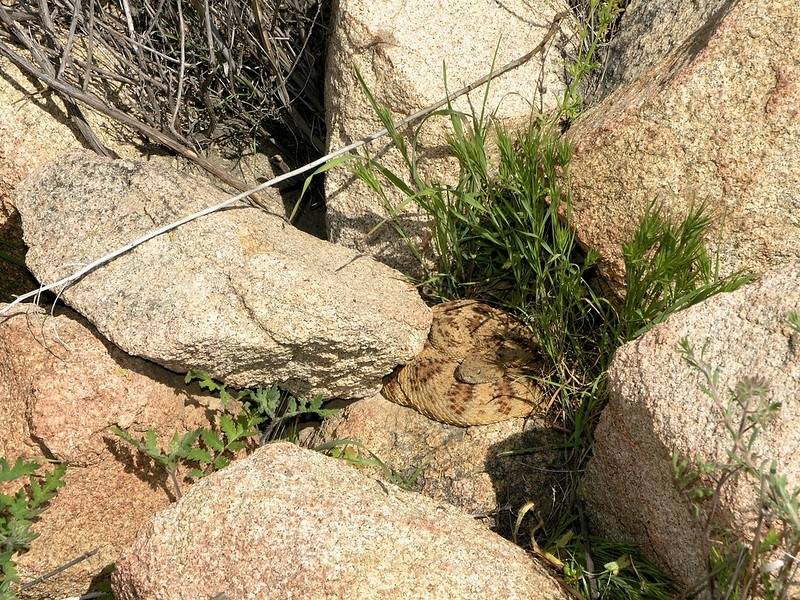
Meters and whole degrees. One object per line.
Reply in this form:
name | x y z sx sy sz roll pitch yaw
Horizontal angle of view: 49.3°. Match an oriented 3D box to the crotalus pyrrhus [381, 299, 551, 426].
crotalus pyrrhus | 0.466 0.417 5.923 1.084 0.382 1.265 -14 30 -25
